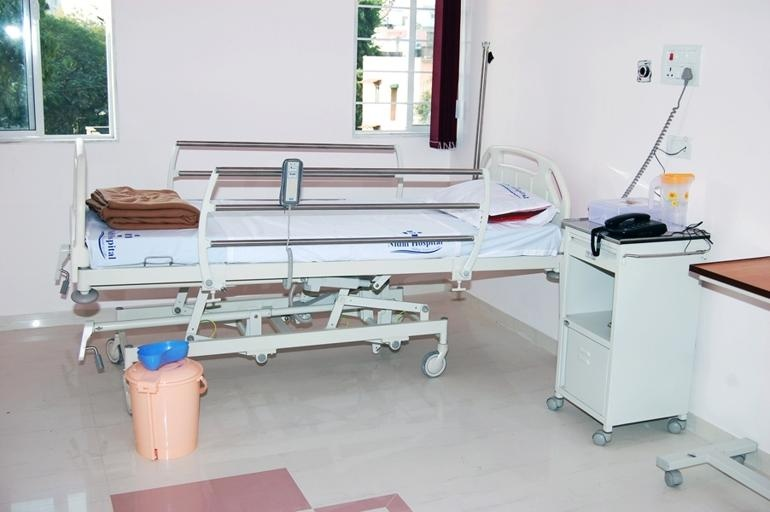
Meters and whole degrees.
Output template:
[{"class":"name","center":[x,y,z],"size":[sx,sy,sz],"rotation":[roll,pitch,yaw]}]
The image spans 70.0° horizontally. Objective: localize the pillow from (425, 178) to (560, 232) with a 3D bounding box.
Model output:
[{"class":"pillow","center":[0.762,-0.355,3.687],"size":[0.521,0.147,0.443],"rotation":[-11,28,-34]}]

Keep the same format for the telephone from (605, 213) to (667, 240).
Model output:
[{"class":"telephone","center":[1.397,-0.190,3.087],"size":[0.253,0.100,0.179],"rotation":[-2,15,-10]}]

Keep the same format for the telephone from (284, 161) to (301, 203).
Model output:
[{"class":"telephone","center":[-0.516,-0.411,3.080],"size":[0.115,0.252,0.037],"rotation":[3,-2,4]}]

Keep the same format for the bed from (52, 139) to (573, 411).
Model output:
[{"class":"bed","center":[-0.474,-0.016,3.902],"size":[3.079,1.637,1.413],"rotation":[-3,20,-13]}]

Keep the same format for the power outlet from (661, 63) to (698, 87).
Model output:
[{"class":"power outlet","center":[1.747,-1.091,3.281],"size":[0.056,0.141,0.227],"rotation":[-13,17,-29]}]
